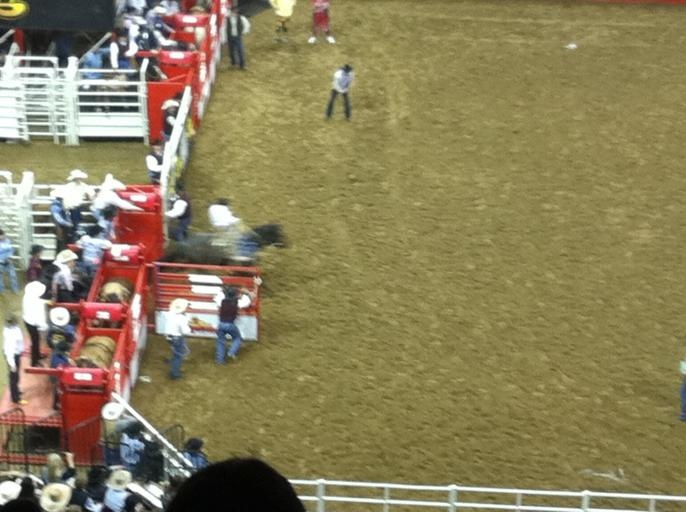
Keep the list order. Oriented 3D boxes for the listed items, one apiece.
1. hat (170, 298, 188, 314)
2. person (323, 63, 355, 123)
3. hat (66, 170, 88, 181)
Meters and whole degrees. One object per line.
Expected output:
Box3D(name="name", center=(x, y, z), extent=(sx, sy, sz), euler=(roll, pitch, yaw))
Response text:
Box3D(name="hat", center=(-3.286, 0.960, 31.891), extent=(0.335, 0.292, 0.472), euler=(-4, 28, -3))
Box3D(name="person", center=(-0.155, -3.992, 38.425), extent=(0.660, 1.532, 1.192), euler=(-3, 29, 0))
Box3D(name="hat", center=(-5.785, -1.732, 34.870), extent=(0.327, 0.120, 0.328), euler=(26, 19, 32))
